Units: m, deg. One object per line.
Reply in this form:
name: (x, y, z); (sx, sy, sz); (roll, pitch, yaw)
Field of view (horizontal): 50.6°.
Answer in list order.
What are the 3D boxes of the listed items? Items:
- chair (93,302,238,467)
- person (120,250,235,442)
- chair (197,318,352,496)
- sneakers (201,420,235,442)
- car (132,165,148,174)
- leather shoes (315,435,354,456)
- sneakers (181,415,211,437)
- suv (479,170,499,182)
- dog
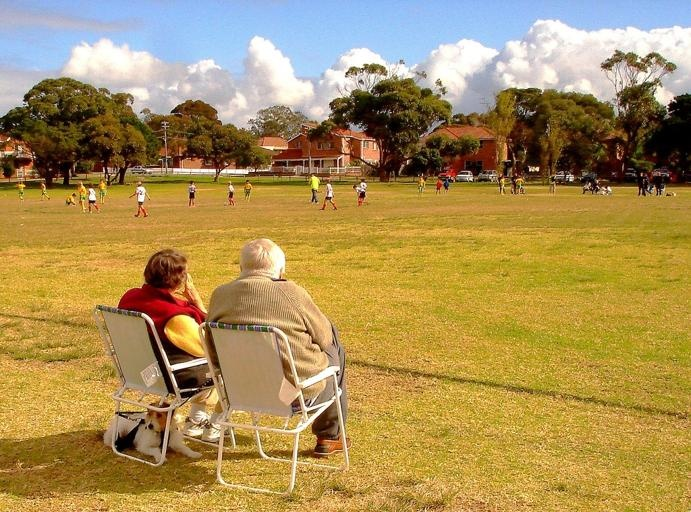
chair: (-1.655, 1.077, 6.464); (1.125, 1.329, 1.125); (-1, 4, -21)
person: (-1.447, 0.877, 6.557); (0.994, 1.824, 0.833); (-4, 5, -42)
chair: (-0.583, 1.166, 6.085); (0.935, 1.461, 1.104); (3, 7, 18)
sneakers: (-1.153, 1.560, 6.618); (0.153, 0.198, 0.441); (0, -2, 12)
car: (-30.809, -12.546, 107.958); (1.750, 1.241, 6.505); (-4, 12, -24)
leather shoes: (-0.103, 1.633, 6.340); (0.343, 0.143, 0.123); (2, -3, -42)
sneakers: (-1.382, 1.546, 6.663); (0.118, 0.158, 0.357); (1, 1, 10)
suv: (16.725, -8.983, 83.903); (1.968, 1.002, 1.237); (-13, 15, -41)
dog: (-1.696, 1.539, 6.268); (0.699, 0.385, 0.416); (6, 0, 33)
